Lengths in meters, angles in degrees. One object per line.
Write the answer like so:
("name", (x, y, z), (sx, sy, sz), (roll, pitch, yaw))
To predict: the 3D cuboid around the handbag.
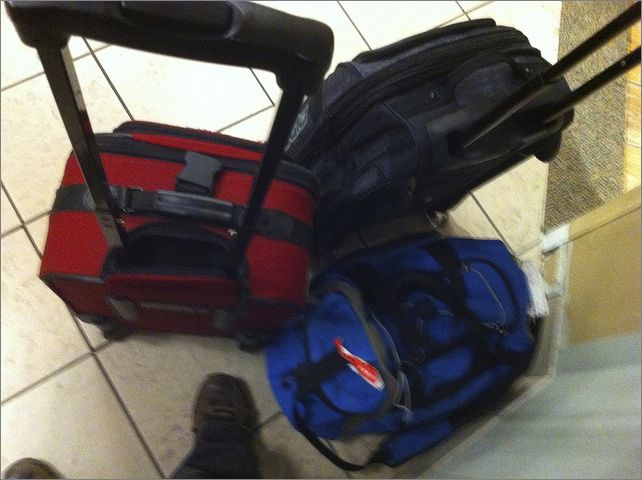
("handbag", (0.259, 0.332, 1.646), (0.763, 0.253, 0.549), (-31, 79, -4))
